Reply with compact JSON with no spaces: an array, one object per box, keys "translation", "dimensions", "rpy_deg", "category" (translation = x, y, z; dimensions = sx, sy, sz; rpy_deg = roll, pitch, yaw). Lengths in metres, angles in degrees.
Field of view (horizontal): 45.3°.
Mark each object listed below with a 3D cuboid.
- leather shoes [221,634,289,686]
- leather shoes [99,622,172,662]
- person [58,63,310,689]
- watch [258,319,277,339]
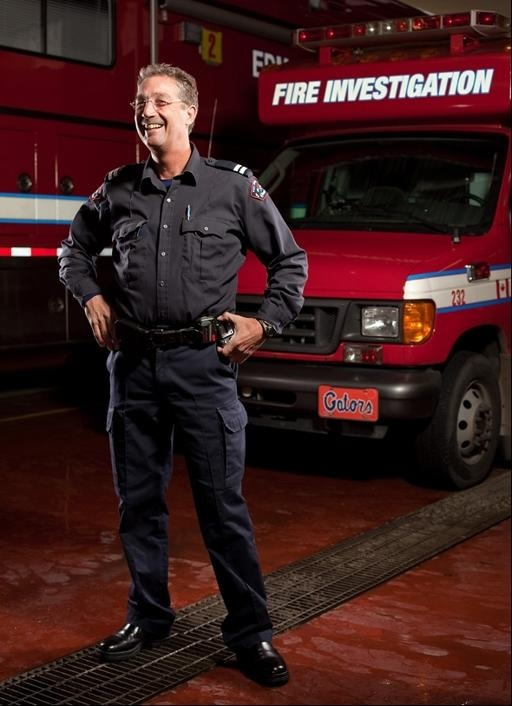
[{"translation":[-0.008,0.833,1.699],"dimensions":[0.080,0.079,0.208],"rpy_deg":[-2,-2,-30],"category":"leather shoes"},{"translation":[-0.377,0.846,1.842],"dimensions":[0.087,0.086,0.237],"rpy_deg":[2,1,45],"category":"leather shoes"},{"translation":[-0.240,0.070,1.753],"dimensions":[0.679,1.678,0.411],"rpy_deg":[0,1,34],"category":"person"},{"translation":[0.024,-0.067,1.674],"dimensions":[0.056,0.054,0.038],"rpy_deg":[11,32,41],"category":"watch"}]
